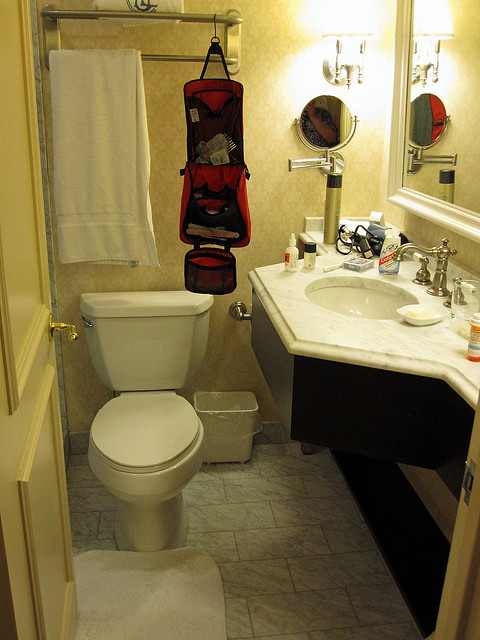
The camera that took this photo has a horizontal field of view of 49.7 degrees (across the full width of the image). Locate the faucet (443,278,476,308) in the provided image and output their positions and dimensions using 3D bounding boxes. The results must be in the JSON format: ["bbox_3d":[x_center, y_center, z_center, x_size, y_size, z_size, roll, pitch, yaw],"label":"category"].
[{"bbox_3d":[0.526,-0.060,1.266,0.054,0.077,0.082,-11,22,-5],"label":"faucet"}]

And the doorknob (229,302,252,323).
[{"bbox_3d":[0.001,-0.032,1.988,0.057,0.075,0.029,-11,-15,8],"label":"doorknob"}]

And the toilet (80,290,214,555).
[{"bbox_3d":[-0.322,0.359,1.842,0.470,0.778,0.732,-2,22,-10],"label":"toilet"}]

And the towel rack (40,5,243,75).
[{"bbox_3d":[-0.299,-0.931,1.704,0.671,0.197,0.273,-6,22,-18],"label":"towel rack"}]

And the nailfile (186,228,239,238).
[{"bbox_3d":[-0.090,-0.291,1.739,0.109,0.016,0.061,5,5,-6],"label":"nailfile"}]

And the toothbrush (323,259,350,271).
[{"bbox_3d":[0.314,-0.178,1.645,0.059,0.025,0.117,13,24,30],"label":"toothbrush"}]

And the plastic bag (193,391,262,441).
[{"bbox_3d":[-0.045,0.408,2.172,0.289,0.201,0.234,1,21,1],"label":"plastic bag"}]

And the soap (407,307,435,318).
[{"bbox_3d":[0.440,-0.017,1.245,0.072,0.015,0.040,1,21,0],"label":"soap"}]

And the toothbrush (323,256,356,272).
[{"bbox_3d":[0.312,-0.182,1.663,0.067,0.029,0.149,18,26,38],"label":"toothbrush"}]
